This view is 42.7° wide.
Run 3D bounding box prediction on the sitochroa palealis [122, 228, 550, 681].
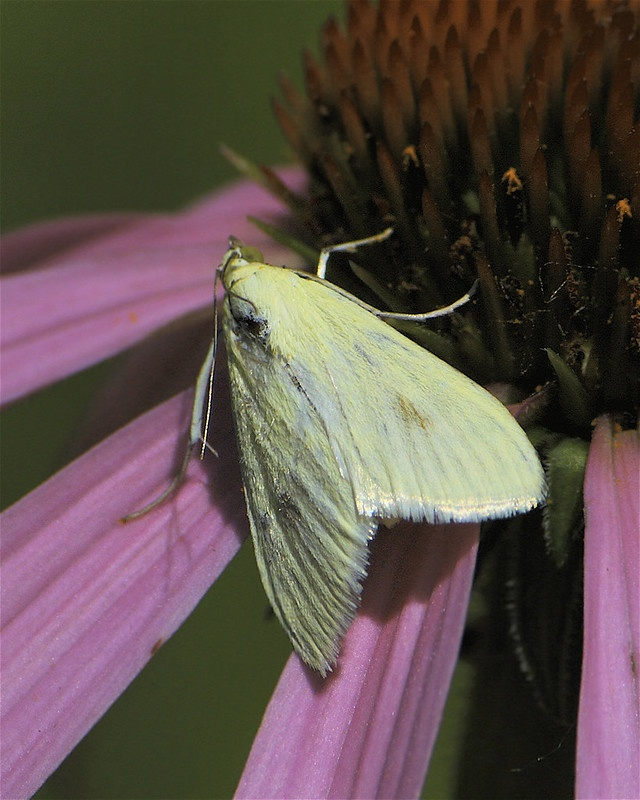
[{"bbox_3d":[0.041,0.019,0.723,0.251,0.269,0.348,-16,27,9],"label":"sitochroa palealis"}]
